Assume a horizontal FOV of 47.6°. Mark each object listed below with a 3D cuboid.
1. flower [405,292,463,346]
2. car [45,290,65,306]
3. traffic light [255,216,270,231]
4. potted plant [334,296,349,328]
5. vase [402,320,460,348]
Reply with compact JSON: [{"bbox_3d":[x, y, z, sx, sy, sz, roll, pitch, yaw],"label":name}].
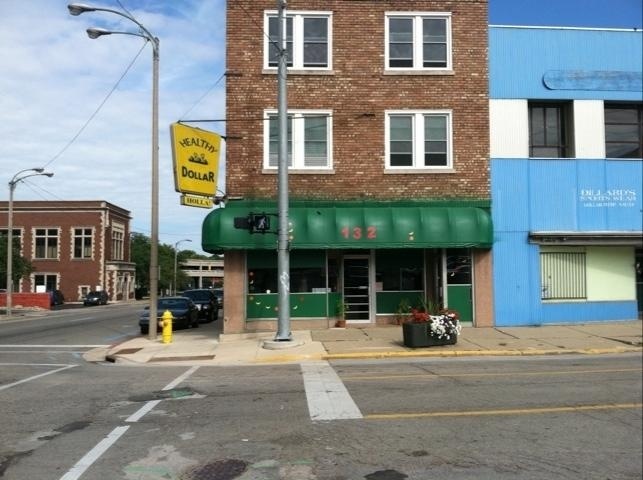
[{"bbox_3d":[3.189,2.590,21.564,1.647,0.845,0.840,1,8,-22],"label":"flower"},{"bbox_3d":[-22.577,5.006,61.262,1.597,1.057,2.472,-1,3,-15],"label":"car"},{"bbox_3d":[-1.838,-0.500,22.006,0.255,0.374,0.458,-4,-12,36],"label":"traffic light"},{"bbox_3d":[0.682,2.545,25.585,0.462,0.980,0.712,-2,5,2],"label":"potted plant"},{"bbox_3d":[2.941,2.685,21.278,1.600,0.625,0.804,2,-6,-27],"label":"vase"}]
